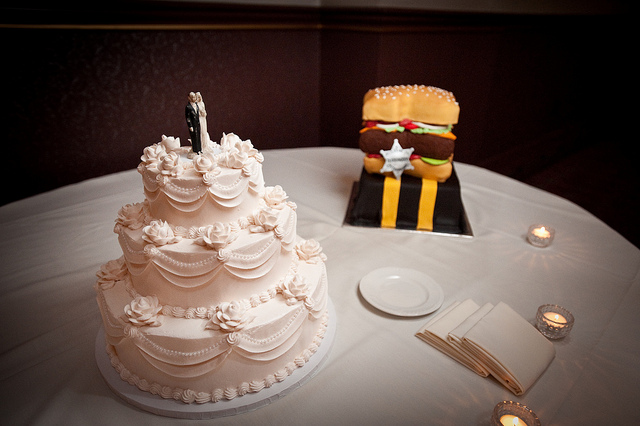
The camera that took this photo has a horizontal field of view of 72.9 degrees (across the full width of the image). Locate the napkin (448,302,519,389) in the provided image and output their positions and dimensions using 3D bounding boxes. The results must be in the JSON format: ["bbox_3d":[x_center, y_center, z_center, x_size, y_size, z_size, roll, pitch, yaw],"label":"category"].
[{"bbox_3d":[1.290,1.098,3.577,0.499,0.126,0.502,36,50,26],"label":"napkin"}]

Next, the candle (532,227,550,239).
[{"bbox_3d":[2.406,0.214,4.717,0.125,0.046,0.129,21,46,32],"label":"candle"}]

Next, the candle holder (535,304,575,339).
[{"bbox_3d":[2.032,0.949,3.749,0.259,0.201,0.292,1,23,11],"label":"candle holder"}]

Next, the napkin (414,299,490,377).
[{"bbox_3d":[1.136,1.087,3.838,0.516,0.135,0.517,-30,53,-36],"label":"napkin"}]

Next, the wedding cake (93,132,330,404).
[{"bbox_3d":[-0.821,0.410,3.902,1.810,1.768,1.888,-1,20,-6],"label":"wedding cake"}]

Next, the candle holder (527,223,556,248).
[{"bbox_3d":[2.385,0.198,4.694,0.238,0.198,0.250,1,23,9],"label":"candle holder"}]

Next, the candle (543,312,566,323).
[{"bbox_3d":[2.057,0.908,3.791,0.094,0.048,0.098,3,15,-5],"label":"candle"}]
